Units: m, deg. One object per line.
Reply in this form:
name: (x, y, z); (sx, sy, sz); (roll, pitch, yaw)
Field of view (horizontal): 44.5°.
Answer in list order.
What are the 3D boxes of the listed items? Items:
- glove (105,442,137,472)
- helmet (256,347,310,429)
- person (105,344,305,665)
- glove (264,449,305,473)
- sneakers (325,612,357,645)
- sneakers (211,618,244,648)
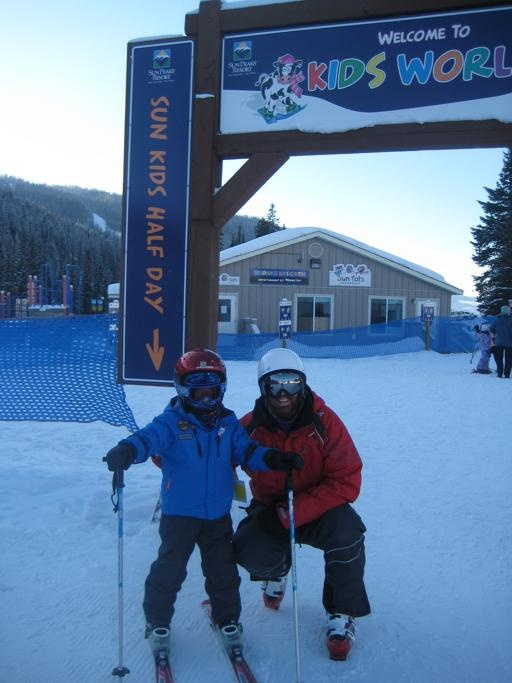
glove: (-0.596, 0.507, 2.753); (0.142, 0.103, 0.060); (-27, -35, 27)
helmet: (0.133, 0.196, 3.159); (0.210, 0.334, 0.307); (-3, -5, -2)
person: (-0.238, 0.704, 2.929); (0.820, 1.298, 0.514); (1, 3, 3)
glove: (0.118, 0.547, 2.850); (0.200, 0.090, 0.065); (3, 4, 40)
sneakers: (0.381, 1.276, 2.797); (0.101, 0.107, 0.141); (2, -16, 0)
sneakers: (-0.126, 1.326, 2.836); (0.057, 0.072, 0.171); (2, 11, -22)
